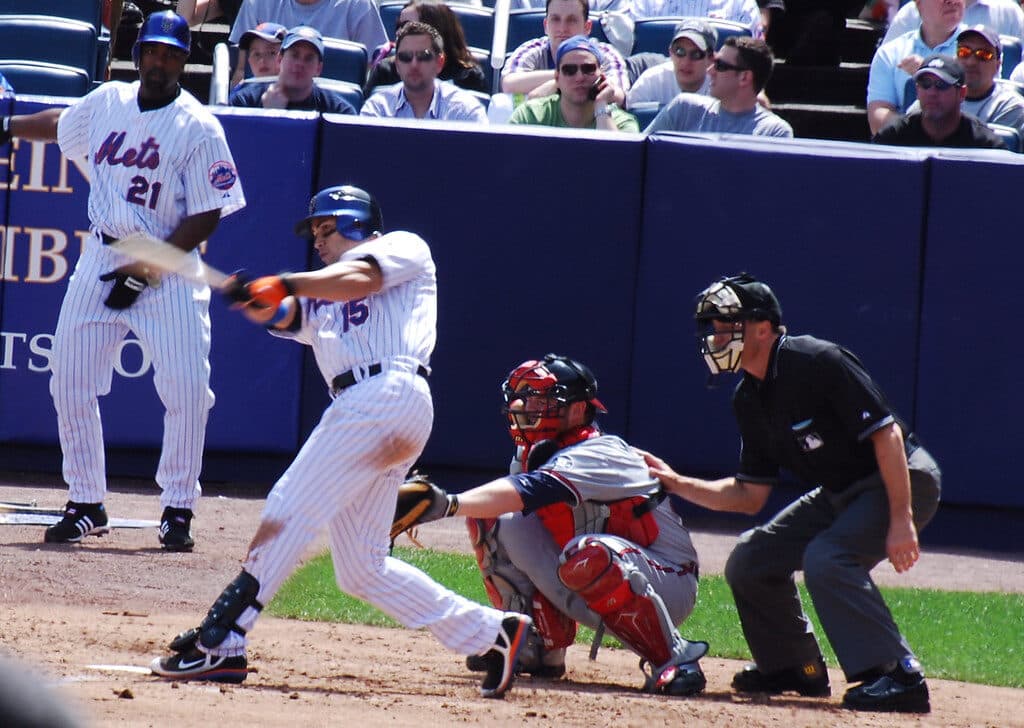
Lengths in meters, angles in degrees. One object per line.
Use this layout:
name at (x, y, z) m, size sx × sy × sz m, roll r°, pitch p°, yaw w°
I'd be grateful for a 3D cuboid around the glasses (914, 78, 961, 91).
glasses at (3.071, -2.012, 12.466) m, size 0.325 × 0.107 × 0.139 m, roll 6°, pitch 11°, yaw 6°

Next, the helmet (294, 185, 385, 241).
helmet at (-0.925, -0.755, 9.159) m, size 0.397 × 0.255 × 0.290 m, roll -24°, pitch 7°, yaw -7°

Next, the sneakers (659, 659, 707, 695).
sneakers at (0.898, 1.683, 9.133) m, size 0.242 × 0.200 × 0.147 m, roll 4°, pitch -9°, yaw -29°

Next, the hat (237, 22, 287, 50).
hat at (-1.943, -2.612, 13.671) m, size 0.216 × 0.130 × 0.330 m, roll -9°, pitch -8°, yaw 28°

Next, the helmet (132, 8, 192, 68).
helmet at (-2.172, -2.060, 10.831) m, size 0.284 × 0.215 × 0.358 m, roll 10°, pitch 3°, yaw -17°

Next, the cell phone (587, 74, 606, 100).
cell phone at (0.616, -2.028, 12.733) m, size 0.101 × 0.188 × 0.044 m, roll 43°, pitch -17°, yaw -18°

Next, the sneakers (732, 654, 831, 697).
sneakers at (1.514, 1.769, 9.670) m, size 0.595 × 0.240 × 0.205 m, roll 4°, pitch 3°, yaw 0°

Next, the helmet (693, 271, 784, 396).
helmet at (1.283, -0.184, 9.545) m, size 0.585 × 0.559 × 0.447 m, roll 4°, pitch -6°, yaw -33°

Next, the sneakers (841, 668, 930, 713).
sneakers at (1.993, 1.751, 9.178) m, size 0.461 × 0.186 × 0.201 m, roll 5°, pitch -10°, yaw 1°

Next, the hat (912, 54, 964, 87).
hat at (3.070, -2.139, 12.434) m, size 0.224 × 0.148 × 0.313 m, roll 6°, pitch -6°, yaw 43°

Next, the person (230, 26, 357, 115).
person at (-1.663, -2.222, 13.209) m, size 1.043 × 0.575 × 0.493 m, roll 11°, pitch -14°, yaw -8°

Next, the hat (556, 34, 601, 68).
hat at (0.499, -2.323, 12.872) m, size 0.332 × 0.218 × 0.387 m, roll 5°, pitch 11°, yaw 1°

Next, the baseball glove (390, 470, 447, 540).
baseball glove at (-0.498, 0.736, 9.029) m, size 0.174 × 0.353 × 0.262 m, roll 47°, pitch -1°, yaw -14°

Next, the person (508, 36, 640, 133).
person at (0.491, -1.955, 12.890) m, size 0.871 × 0.790 × 0.457 m, roll 3°, pitch 4°, yaw 27°

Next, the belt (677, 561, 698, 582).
belt at (0.965, 1.146, 9.471) m, size 0.105 × 0.085 × 0.078 m, roll -5°, pitch 4°, yaw -39°

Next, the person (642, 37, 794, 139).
person at (1.580, -2.056, 12.815) m, size 1.024 × 0.734 × 0.394 m, roll 5°, pitch 12°, yaw 4°

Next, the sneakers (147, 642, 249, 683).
sneakers at (-1.569, 1.544, 8.820) m, size 0.521 × 0.194 × 0.175 m, roll 6°, pitch -5°, yaw -3°

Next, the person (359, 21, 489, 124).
person at (-0.658, -2.132, 12.917) m, size 1.093 × 0.699 × 0.457 m, roll 6°, pitch 7°, yaw 27°

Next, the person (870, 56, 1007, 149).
person at (3.126, -1.860, 12.577) m, size 1.132 × 0.673 × 0.551 m, roll 2°, pitch -2°, yaw 35°

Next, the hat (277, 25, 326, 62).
hat at (-1.543, -2.380, 12.797) m, size 0.269 × 0.185 × 0.358 m, roll 11°, pitch 5°, yaw -5°
